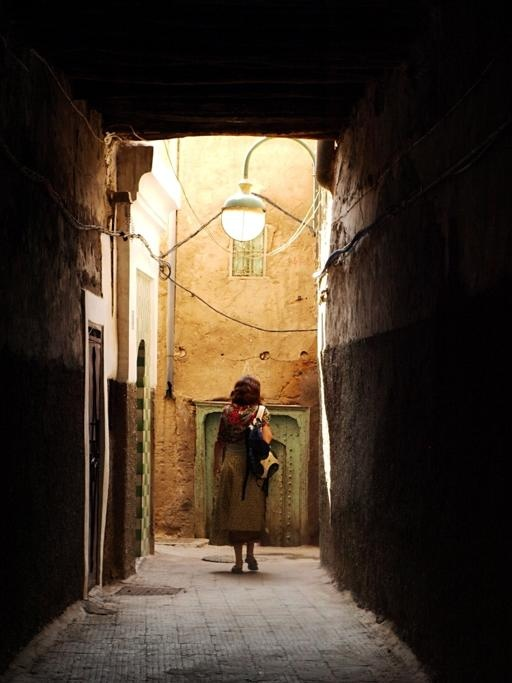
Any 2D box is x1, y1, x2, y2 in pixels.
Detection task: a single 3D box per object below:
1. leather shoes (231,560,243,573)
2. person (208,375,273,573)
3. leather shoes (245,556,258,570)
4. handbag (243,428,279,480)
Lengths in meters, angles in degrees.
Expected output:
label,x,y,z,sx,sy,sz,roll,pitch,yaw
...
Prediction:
label,x,y,z,sx,sy,sz,roll,pitch,yaw
leather shoes,-0.166,2.083,6.682,0.065,0.153,0.116,6,-11,-31
person,-0.104,1.210,6.559,0.590,1.773,0.636,1,-7,-5
leather shoes,-0.035,2.080,6.773,0.125,0.189,0.077,-2,-5,13
handbag,0.039,0.984,6.615,0.260,0.742,0.469,-1,0,-10
